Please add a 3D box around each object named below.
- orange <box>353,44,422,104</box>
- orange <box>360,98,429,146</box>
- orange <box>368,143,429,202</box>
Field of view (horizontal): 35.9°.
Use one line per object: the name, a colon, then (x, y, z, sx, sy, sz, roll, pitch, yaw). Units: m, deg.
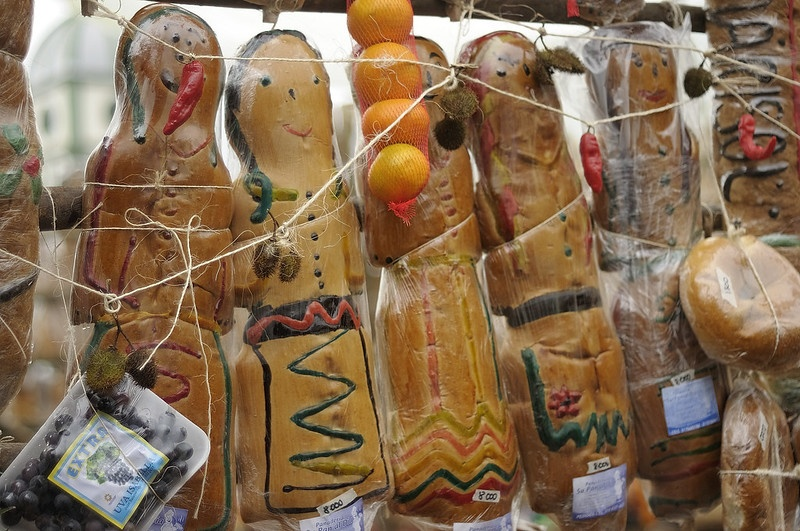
orange: (-0.024, -0.402, 2.668, 0.156, 0.138, 0.145, -2, -1, -2)
orange: (0.001, -0.296, 2.604, 0.105, 0.088, 0.107, -1, -5, -16)
orange: (-0.001, -0.191, 2.613, 0.128, 0.121, 0.060, -2, -1, -2)
